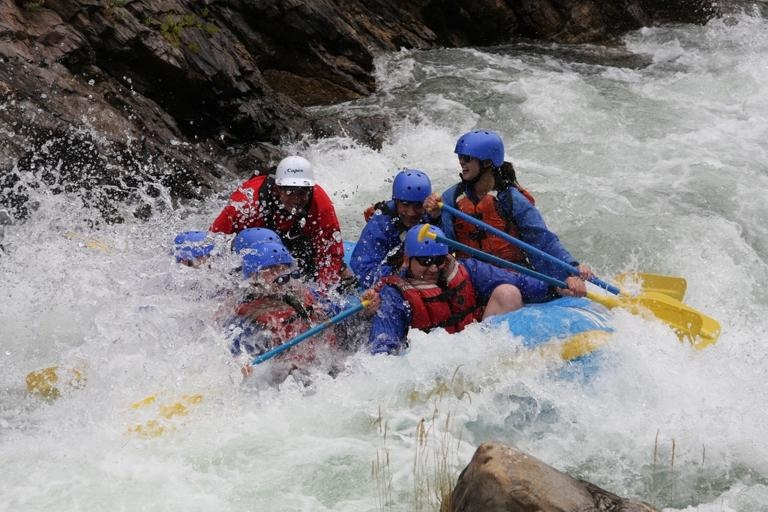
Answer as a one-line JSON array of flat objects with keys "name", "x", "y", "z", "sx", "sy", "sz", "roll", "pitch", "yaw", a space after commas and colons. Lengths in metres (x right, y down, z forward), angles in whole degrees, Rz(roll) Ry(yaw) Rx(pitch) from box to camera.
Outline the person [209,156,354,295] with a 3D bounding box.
[{"name": "person", "x": -1.101, "y": -0.734, "z": 10.551, "sx": 1.239, "sy": 0.753, "sz": 1.164, "roll": 24, "pitch": 13, "yaw": 37}]

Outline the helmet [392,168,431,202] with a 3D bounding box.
[{"name": "helmet", "x": 0.316, "y": -0.868, "z": 10.432, "sx": 0.485, "sy": 0.334, "sz": 0.371, "roll": -16, "pitch": 45, "yaw": 10}]

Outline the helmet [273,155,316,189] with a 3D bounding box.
[{"name": "helmet", "x": -1.160, "y": -1.153, "z": 10.860, "sx": 0.527, "sy": 0.344, "sz": 0.652, "roll": 3, "pitch": 18, "yaw": -8}]

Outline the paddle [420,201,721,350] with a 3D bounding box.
[{"name": "paddle", "x": 2.284, "y": 0.300, "z": 10.351, "sx": 2.931, "sy": 0.332, "sz": 0.868, "roll": 21, "pitch": 28, "yaw": 1}]

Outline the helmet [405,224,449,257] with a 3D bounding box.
[{"name": "helmet", "x": 0.490, "y": -0.153, "z": 9.676, "sx": 0.353, "sy": 0.356, "sz": 0.465, "roll": -8, "pitch": 27, "yaw": -23}]
